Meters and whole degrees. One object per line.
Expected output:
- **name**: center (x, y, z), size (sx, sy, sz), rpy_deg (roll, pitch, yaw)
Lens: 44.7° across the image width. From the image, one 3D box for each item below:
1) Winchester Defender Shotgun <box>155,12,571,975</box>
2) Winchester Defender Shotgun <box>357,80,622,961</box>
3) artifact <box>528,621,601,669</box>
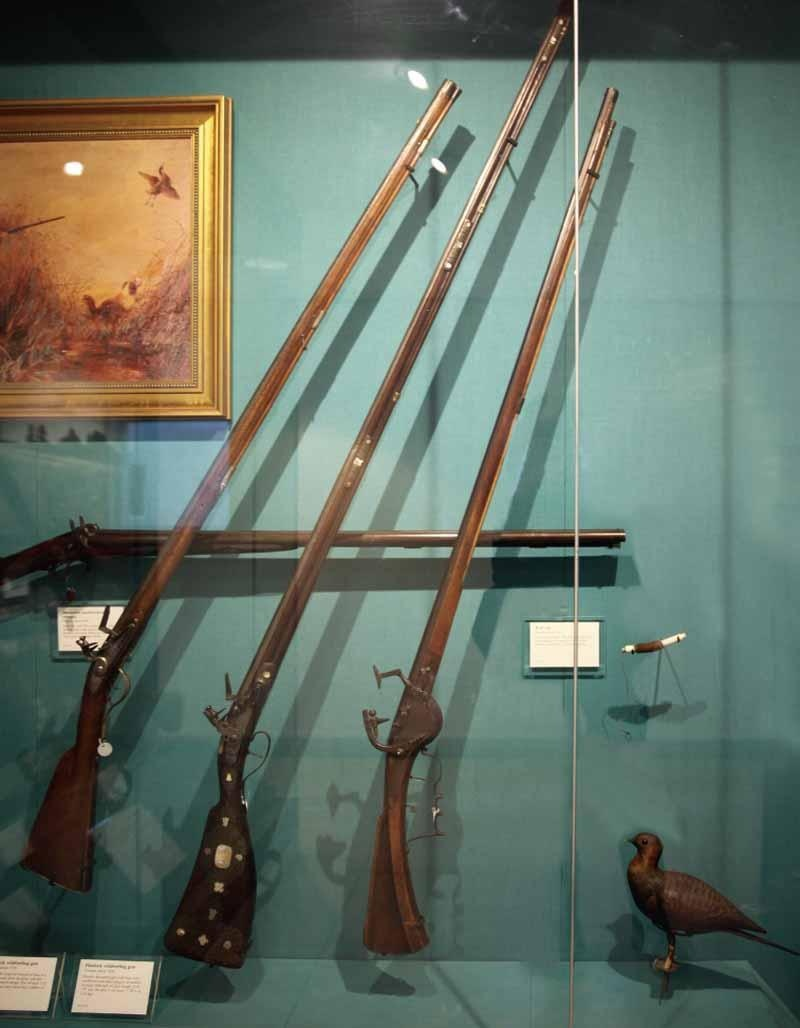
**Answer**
- **Winchester Defender Shotgun**: center (-0.097, -0.039, 1.856), size (0.248, 1.829, 0.308), rpy_deg (21, 0, 16)
- **Winchester Defender Shotgun**: center (0.149, -0.012, 1.871), size (0.384, 1.709, 0.123), rpy_deg (19, -3, -31)
- **artifact**: center (0.314, 0.257, 1.892), size (0.129, 0.099, 0.031), rpy_deg (0, -1, -7)
